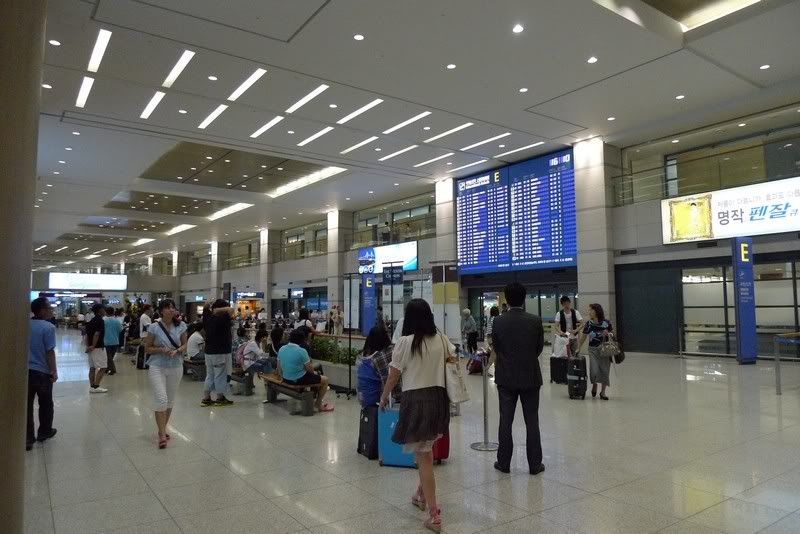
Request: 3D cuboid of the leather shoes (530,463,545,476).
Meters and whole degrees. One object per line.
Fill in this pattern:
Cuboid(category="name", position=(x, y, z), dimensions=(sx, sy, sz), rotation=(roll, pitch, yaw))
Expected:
Cuboid(category="leather shoes", position=(1.840, 2.717, 7.406), dimensions=(0.087, 0.181, 0.265), rotation=(-2, 0, 41))

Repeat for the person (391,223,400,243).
Cuboid(category="person", position=(-0.196, -1.556, 24.598), dimensions=(0.391, 0.821, 0.917), rotation=(-1, 3, -7))

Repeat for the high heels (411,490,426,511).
Cuboid(category="high heels", position=(0.227, 2.832, 6.599), dimensions=(0.089, 0.168, 0.239), rotation=(3, -12, -20))

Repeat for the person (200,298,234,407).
Cuboid(category="person", position=(-3.688, 1.720, 11.241), dimensions=(0.702, 2.044, 0.698), rotation=(-13, -12, 43))

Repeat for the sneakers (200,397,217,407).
Cuboid(category="sneakers", position=(-3.853, 2.709, 10.979), dimensions=(0.328, 0.151, 0.117), rotation=(-1, -2, -28))

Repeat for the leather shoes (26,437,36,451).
Cuboid(category="leather shoes", position=(-5.630, 2.694, 8.333), dimensions=(0.088, 0.119, 0.262), rotation=(-3, 3, -33))

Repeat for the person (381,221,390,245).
Cuboid(category="person", position=(-0.653, -1.506, 25.173), dimensions=(0.386, 0.877, 1.048), rotation=(-1, 3, -5))

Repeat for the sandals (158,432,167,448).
Cuboid(category="sandals", position=(-3.677, 2.677, 8.470), dimensions=(0.147, 0.112, 0.437), rotation=(-2, -7, -23))

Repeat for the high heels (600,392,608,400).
Cuboid(category="high heels", position=(4.093, 2.546, 10.964), dimensions=(0.159, 0.131, 0.358), rotation=(0, 3, 16))

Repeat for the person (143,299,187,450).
Cuboid(category="person", position=(-3.752, 1.635, 8.829), dimensions=(0.608, 2.247, 1.117), rotation=(-2, 3, -23))

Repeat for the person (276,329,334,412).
Cuboid(category="person", position=(-1.819, 1.935, 10.413), dimensions=(0.925, 1.578, 0.829), rotation=(-2, 3, -13))

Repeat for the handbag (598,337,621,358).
Cuboid(category="handbag", position=(4.174, 1.601, 10.838), dimensions=(0.374, 0.398, 0.239), rotation=(-1, 3, -4))

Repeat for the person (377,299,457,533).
Cuboid(category="person", position=(0.242, 1.686, 6.525), dimensions=(0.788, 2.569, 0.740), rotation=(0, 3, 15))

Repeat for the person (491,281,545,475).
Cuboid(category="person", position=(1.616, 1.481, 7.483), dimensions=(0.693, 2.534, 0.495), rotation=(-1, 3, 10))

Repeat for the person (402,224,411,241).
Cuboid(category="person", position=(0.301, -1.551, 24.016), dimensions=(0.336, 0.727, 0.819), rotation=(-2, 3, -12))

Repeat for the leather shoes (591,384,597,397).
Cuboid(category="leather shoes", position=(3.948, 2.497, 11.089), dimensions=(0.091, 0.293, 0.116), rotation=(3, -15, 5))

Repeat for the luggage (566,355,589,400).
Cuboid(category="luggage", position=(3.534, 2.216, 10.922), dimensions=(0.336, 0.806, 0.248), rotation=(-1, 3, 9))

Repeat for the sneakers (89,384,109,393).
Cuboid(category="sneakers", position=(-6.821, 2.736, 12.416), dimensions=(0.498, 0.201, 0.184), rotation=(1, -4, -14))

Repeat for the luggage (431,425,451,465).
Cuboid(category="luggage", position=(0.535, 2.480, 7.755), dimensions=(0.286, 0.487, 0.249), rotation=(6, -10, -16))

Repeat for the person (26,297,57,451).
Cuboid(category="person", position=(-5.622, 1.627, 8.552), dimensions=(0.429, 2.285, 1.063), rotation=(-3, 3, -34))

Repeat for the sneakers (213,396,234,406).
Cuboid(category="sneakers", position=(-3.561, 2.711, 11.090), dimensions=(0.406, 0.198, 0.145), rotation=(1, -4, -9))

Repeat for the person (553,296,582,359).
Cuboid(category="person", position=(3.829, 1.604, 12.361), dimensions=(0.593, 1.828, 0.596), rotation=(-2, 8, 20))

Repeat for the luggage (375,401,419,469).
Cuboid(category="luggage", position=(-0.033, 2.424, 7.926), dimensions=(0.519, 0.862, 0.553), rotation=(7, -21, -12))

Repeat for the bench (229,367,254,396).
Cuboid(category="bench", position=(-3.627, 2.593, 12.389), dimensions=(0.343, 0.414, 1.035), rotation=(2, -6, -27))
